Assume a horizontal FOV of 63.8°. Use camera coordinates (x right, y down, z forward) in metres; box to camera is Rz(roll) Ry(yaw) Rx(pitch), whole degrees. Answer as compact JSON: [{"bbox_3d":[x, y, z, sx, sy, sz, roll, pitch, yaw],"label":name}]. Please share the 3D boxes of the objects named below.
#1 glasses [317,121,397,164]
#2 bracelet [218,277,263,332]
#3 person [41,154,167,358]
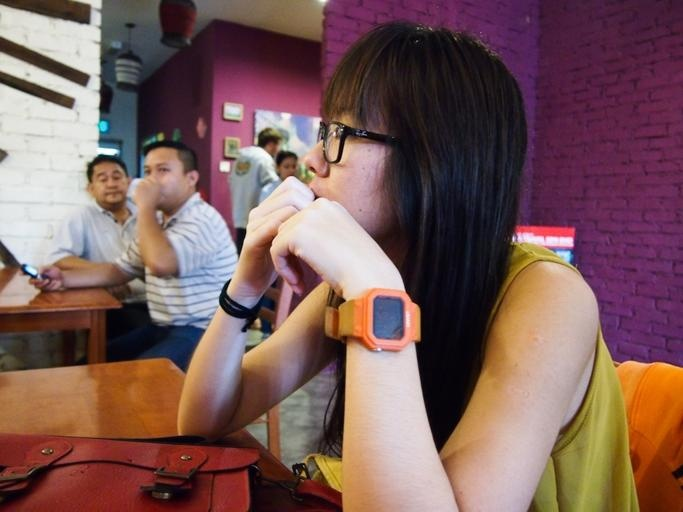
[{"bbox_3d":[0.061,-0.283,1.319,0.189,0.071,0.199,0,23,-27],"label":"glasses"},{"bbox_3d":[-0.269,0.111,1.432,0.097,0.047,0.085,6,30,16],"label":"bracelet"},{"bbox_3d":[-1.302,-0.095,3.210,0.570,0.944,0.593,7,12,20],"label":"person"}]
